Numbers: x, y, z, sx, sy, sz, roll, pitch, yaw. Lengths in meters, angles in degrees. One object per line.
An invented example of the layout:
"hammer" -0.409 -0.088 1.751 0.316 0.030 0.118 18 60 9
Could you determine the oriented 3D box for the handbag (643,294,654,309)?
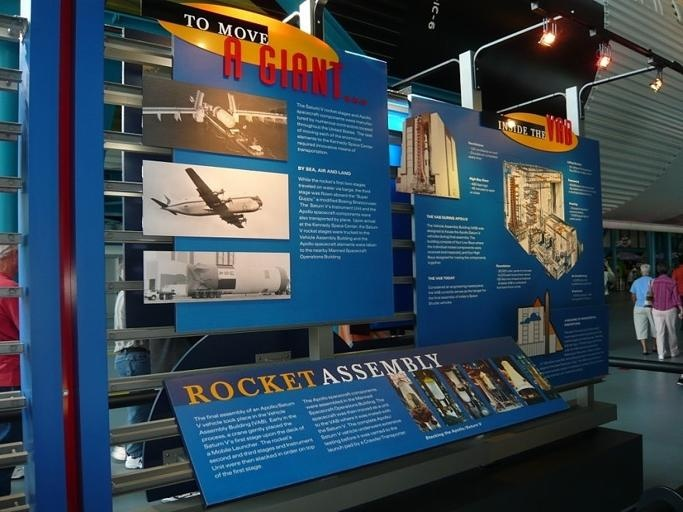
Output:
"handbag" 4.910 0.727 8.532 0.170 0.173 0.169 1 0 16
